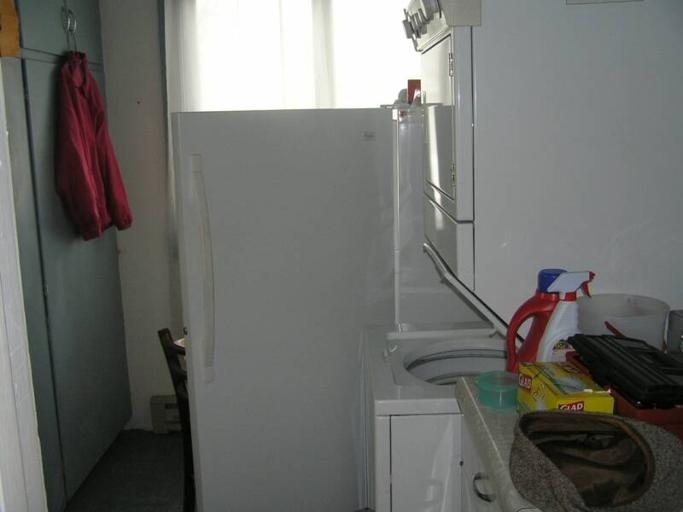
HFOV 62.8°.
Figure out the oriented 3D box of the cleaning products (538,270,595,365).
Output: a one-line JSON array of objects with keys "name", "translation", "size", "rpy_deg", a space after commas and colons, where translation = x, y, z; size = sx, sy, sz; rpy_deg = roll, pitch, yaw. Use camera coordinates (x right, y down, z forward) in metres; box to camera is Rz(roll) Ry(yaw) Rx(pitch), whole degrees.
[{"name": "cleaning products", "translation": [0.569, 0.149, 1.430], "size": [0.203, 0.216, 0.084], "rpy_deg": [-16, 17, -42]}]
